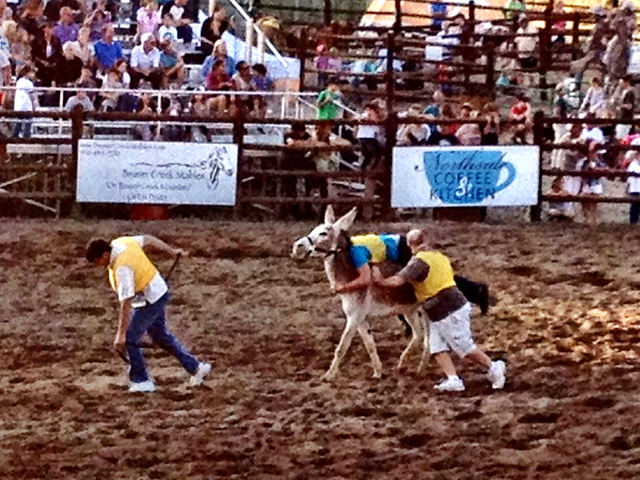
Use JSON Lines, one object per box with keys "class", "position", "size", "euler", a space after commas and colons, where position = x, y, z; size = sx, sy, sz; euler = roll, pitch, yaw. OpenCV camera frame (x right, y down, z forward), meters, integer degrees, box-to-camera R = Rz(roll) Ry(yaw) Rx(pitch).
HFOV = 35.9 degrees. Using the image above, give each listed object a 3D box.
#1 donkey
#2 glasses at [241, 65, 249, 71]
{"class": "donkey", "position": [0.653, 0.833, 14.222], "size": [2.127, 2.456, 0.763], "euler": [-5, 4, -20]}
{"class": "glasses", "position": [-1.535, -3.520, 20.020], "size": [0.091, 0.112, 0.110], "euler": [19, -10, 14]}
